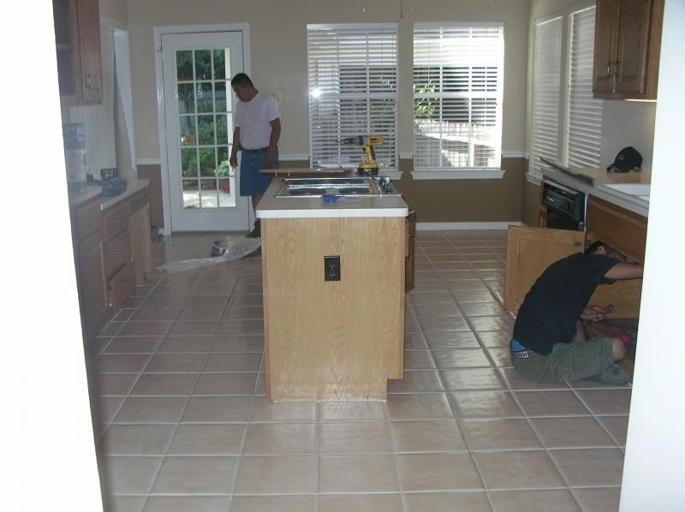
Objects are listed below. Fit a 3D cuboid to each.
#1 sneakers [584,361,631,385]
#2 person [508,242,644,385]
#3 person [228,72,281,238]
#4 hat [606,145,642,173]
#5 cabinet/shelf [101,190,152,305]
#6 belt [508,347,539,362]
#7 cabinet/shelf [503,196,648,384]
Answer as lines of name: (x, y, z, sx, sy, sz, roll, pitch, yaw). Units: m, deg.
sneakers: (1.467, 0.630, 2.911, 0.167, 0.072, 0.130, -2, -1, 10)
person: (1.371, 0.303, 2.961, 0.721, 0.721, 0.548, 2, 11, 30)
person: (-0.961, -1.243, 5.787, 0.641, 1.390, 0.479, 3, 15, 16)
hat: (2.110, -0.731, 4.001, 0.244, 0.144, 0.157, -5, 9, -28)
cabinet/shelf: (-1.691, -0.071, 4.148, 0.219, 0.455, 0.863, -3, 16, -10)
belt: (1.015, 0.540, 2.972, 0.115, 0.057, 0.159, 1, 7, 7)
cabinet/shelf: (1.353, 0.123, 3.348, 0.893, 1.201, 0.884, -1, 10, -13)
